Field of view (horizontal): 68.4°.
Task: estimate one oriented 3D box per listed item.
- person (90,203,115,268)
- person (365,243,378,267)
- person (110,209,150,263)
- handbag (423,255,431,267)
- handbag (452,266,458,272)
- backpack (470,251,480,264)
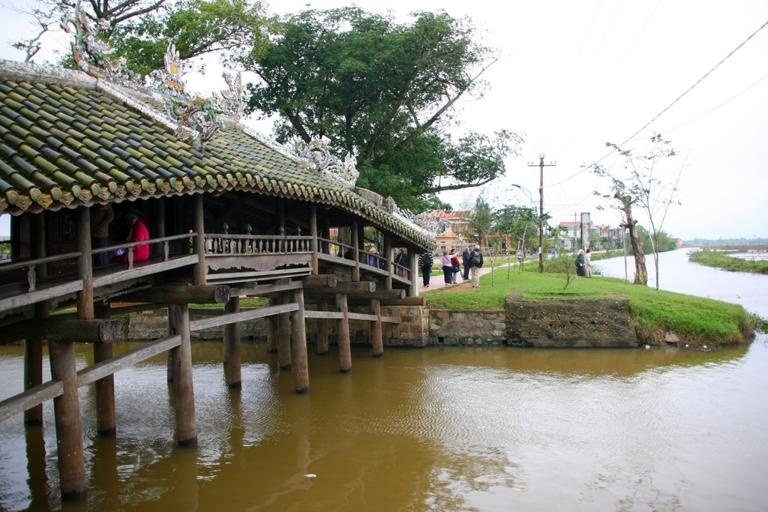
[{"bbox_3d":[-6.136,-0.486,12.345,0.543,1.311,0.462,7,11,42],"label":"person"},{"bbox_3d":[-0.561,-0.062,23.844,0.332,1.141,1.102,-1,4,29],"label":"person"},{"bbox_3d":[-5.669,-0.488,12.730,0.754,1.115,0.802,-1,4,-10],"label":"person"},{"bbox_3d":[2.066,0.198,28.256,0.362,0.552,0.572,-1,8,0],"label":"handbag"},{"bbox_3d":[3.457,0.635,27.824,0.277,0.327,0.413,3,9,21],"label":"handbag"},{"bbox_3d":[4.180,0.087,26.251,0.545,0.687,0.249,7,11,44],"label":"backpack"}]
